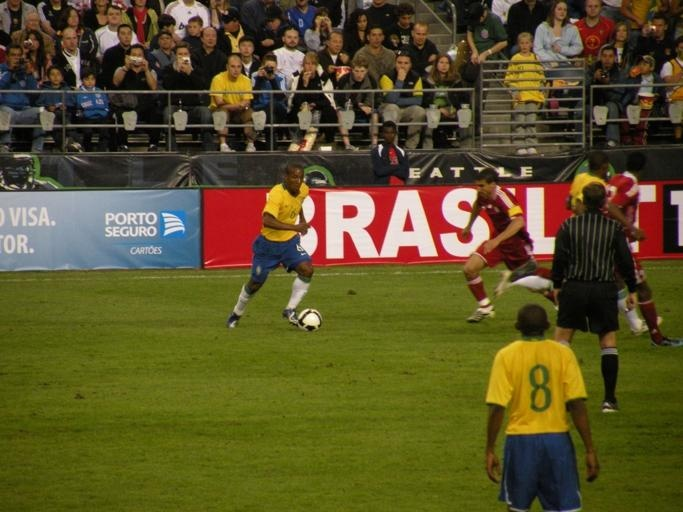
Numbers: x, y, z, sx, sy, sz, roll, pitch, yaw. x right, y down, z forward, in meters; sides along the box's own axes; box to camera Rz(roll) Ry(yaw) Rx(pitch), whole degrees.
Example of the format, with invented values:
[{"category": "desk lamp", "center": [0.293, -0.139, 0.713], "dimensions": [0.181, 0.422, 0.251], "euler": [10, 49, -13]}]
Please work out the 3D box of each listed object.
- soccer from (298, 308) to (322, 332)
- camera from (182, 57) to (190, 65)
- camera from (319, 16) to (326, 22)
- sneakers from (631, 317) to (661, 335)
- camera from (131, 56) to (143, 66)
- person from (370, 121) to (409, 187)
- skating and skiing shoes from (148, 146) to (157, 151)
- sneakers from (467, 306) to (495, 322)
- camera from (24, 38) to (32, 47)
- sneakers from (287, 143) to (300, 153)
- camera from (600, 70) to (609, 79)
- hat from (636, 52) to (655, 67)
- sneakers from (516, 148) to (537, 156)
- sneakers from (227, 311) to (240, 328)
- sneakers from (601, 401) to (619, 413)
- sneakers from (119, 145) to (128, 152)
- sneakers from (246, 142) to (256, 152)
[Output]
[{"category": "soccer", "center": [-0.541, 1.139, 24.504], "dimensions": [0.407, 0.391, 0.404], "euler": [-12, 9, -43]}, {"category": "camera", "center": [-3.481, -4.439, 31.000], "dimensions": [0.123, 0.194, 0.279], "euler": [3, 6, 23]}, {"category": "camera", "center": [-0.454, -5.751, 33.054], "dimensions": [0.177, 0.147, 0.040], "euler": [-2, 1, -15]}, {"category": "sneakers", "center": [5.199, 1.194, 23.308], "dimensions": [0.630, 0.196, 0.279], "euler": [-10, 1, 10]}, {"category": "camera", "center": [-4.624, -4.429, 30.920], "dimensions": [0.279, 0.194, 0.089], "euler": [-1, 7, -17]}, {"category": "person", "center": [1.061, -2.296, 30.600], "dimensions": [0.776, 1.435, 1.255], "euler": [2, 6, 13]}, {"category": "skating and skiing shoes", "center": [-4.356, -2.504, 31.656], "dimensions": [0.158, 0.148, 0.109], "euler": [-1, 14, -7]}, {"category": "sneakers", "center": [2.572, 1.065, 25.012], "dimensions": [0.383, 0.161, 0.133], "euler": [-21, 22, 21]}, {"category": "camera", "center": [-7.032, -4.794, 30.751], "dimensions": [0.096, 0.130, 0.209], "euler": [46, 4, -5]}, {"category": "sneakers", "center": [-1.118, -2.514, 31.635], "dimensions": [0.237, 0.202, 0.233], "euler": [-1, 1, 31]}, {"category": "camera", "center": [6.168, -4.275, 32.225], "dimensions": [0.216, 0.194, 0.074], "euler": [2, 13, 6]}, {"category": "hat", "center": [7.137, -4.574, 32.041], "dimensions": [0.374, 0.199, 0.258], "euler": [23, -19, -31]}, {"category": "sneakers", "center": [4.400, -2.477, 32.366], "dimensions": [0.228, 0.144, 0.380], "euler": [0, -6, -12]}, {"category": "sneakers", "center": [-1.949, 1.151, 24.639], "dimensions": [0.148, 0.168, 0.381], "euler": [16, -27, -3]}, {"category": "sneakers", "center": [4.092, 2.296, 20.812], "dimensions": [0.136, 0.126, 0.301], "euler": [1, 3, 10]}, {"category": "sneakers", "center": [-5.000, -2.469, 31.301], "dimensions": [0.213, 0.134, 0.346], "euler": [0, 6, -8]}, {"category": "sneakers", "center": [-2.080, -2.506, 31.451], "dimensions": [0.172, 0.163, 0.278], "euler": [0, -4, -4]}]
